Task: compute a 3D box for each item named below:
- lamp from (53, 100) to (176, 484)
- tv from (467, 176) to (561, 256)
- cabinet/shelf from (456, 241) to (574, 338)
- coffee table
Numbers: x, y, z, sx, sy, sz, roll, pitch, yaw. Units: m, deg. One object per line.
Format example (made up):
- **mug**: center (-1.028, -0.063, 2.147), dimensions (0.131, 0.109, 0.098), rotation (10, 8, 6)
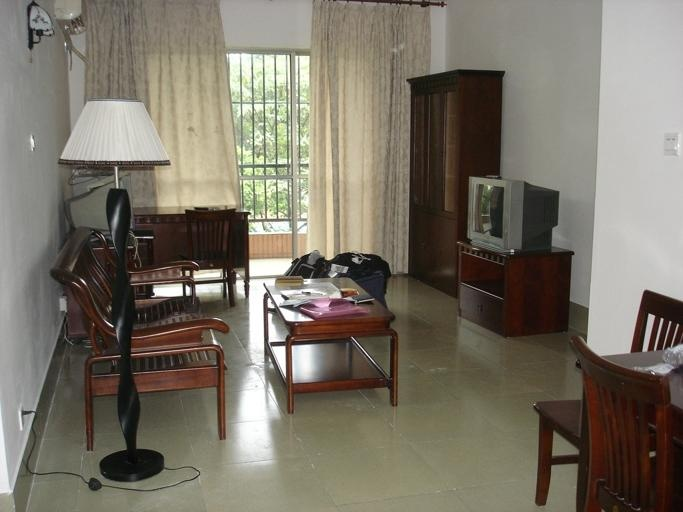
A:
- **lamp**: center (-1.164, 0.152, 3.111), dimensions (0.558, 1.956, 0.649), rotation (-6, 13, -27)
- **tv**: center (1.555, -0.392, 5.368), dimensions (0.595, 0.793, 0.870), rotation (-5, 10, -17)
- **cabinet/shelf**: center (1.619, 0.282, 5.472), dimensions (0.672, 0.797, 0.893), rotation (-2, 9, -15)
- **coffee table**: center (-0.137, 0.607, 4.200), dimensions (0.660, 0.640, 1.323), rotation (-2, 6, -10)
